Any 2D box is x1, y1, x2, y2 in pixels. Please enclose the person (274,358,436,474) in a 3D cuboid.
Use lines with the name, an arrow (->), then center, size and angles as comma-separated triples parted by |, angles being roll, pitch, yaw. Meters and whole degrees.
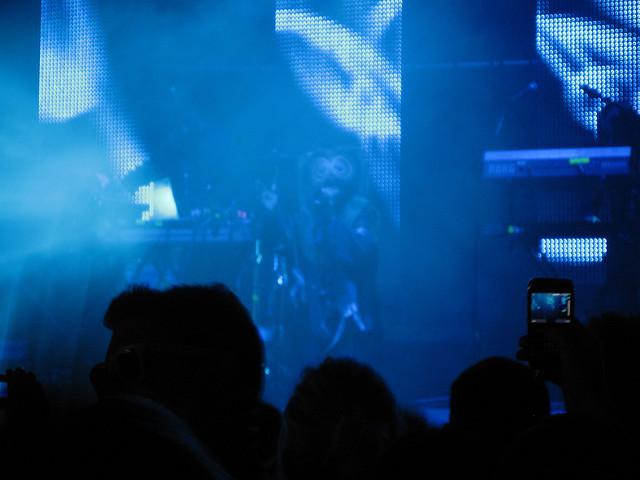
person -> 0.167, 1.028, 4.328 | 0.845, 0.669, 0.547 | 1, -6, -4

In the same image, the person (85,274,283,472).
person -> -0.805, 0.790, 4.329 | 1.055, 1.136, 0.848 | 8, -11, 33
